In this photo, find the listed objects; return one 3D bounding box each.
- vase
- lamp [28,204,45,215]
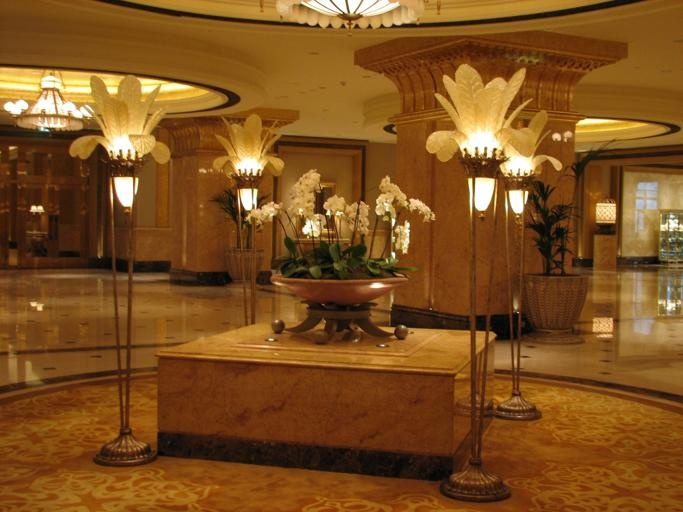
[{"bbox_3d":[0.009,0.518,5.573,0.929,0.437,0.920,0,-4,3],"label":"vase"},{"bbox_3d":[-9.713,-1.464,18.749,0.309,0.187,0.313,3,2,31],"label":"lamp"}]
